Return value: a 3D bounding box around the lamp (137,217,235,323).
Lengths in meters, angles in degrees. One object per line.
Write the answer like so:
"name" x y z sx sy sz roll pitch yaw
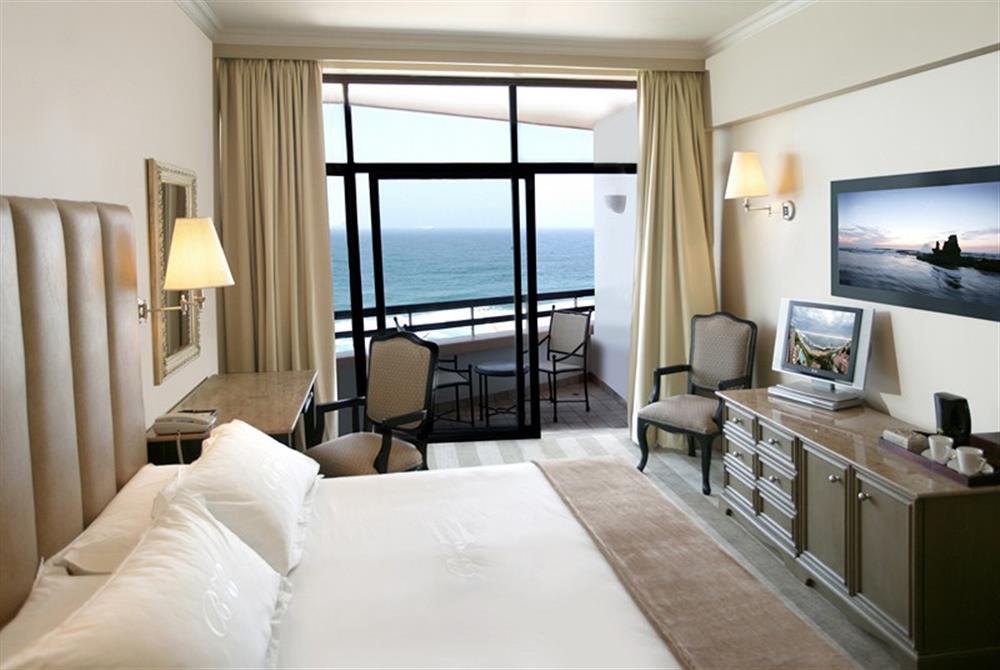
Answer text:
"lamp" -1.699 -0.417 3.866 0.640 0.626 0.429 -5 12 -6

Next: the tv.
"tv" 2.107 0.136 4.360 0.337 0.631 0.653 -7 8 -23

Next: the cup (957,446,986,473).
"cup" 2.250 0.597 3.243 0.104 0.103 0.127 -5 9 -41

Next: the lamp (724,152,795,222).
"lamp" 1.980 -1.117 5.172 0.613 0.609 0.406 1 0 -21

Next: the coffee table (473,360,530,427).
"coffee table" -0.054 0.503 6.124 0.541 0.597 0.540 -1 4 -7

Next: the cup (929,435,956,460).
"cup" 2.198 0.571 3.353 0.097 0.101 0.125 4 14 19
